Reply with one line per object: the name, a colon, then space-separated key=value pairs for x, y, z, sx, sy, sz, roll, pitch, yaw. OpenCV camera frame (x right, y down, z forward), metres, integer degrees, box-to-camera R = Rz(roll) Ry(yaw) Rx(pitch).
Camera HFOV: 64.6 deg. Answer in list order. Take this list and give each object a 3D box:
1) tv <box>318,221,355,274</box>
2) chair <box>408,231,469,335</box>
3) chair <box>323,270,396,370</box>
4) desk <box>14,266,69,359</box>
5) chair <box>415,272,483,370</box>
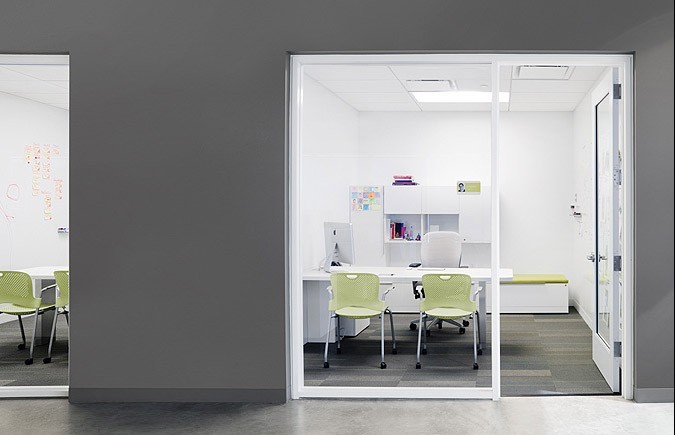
tv: x=-0.037 y=0.305 z=5.660 sx=0.257 sy=0.497 sz=0.445 roll=-9 pitch=11 yaw=-41
chair: x=1.059 y=0.723 z=5.809 sx=0.695 sy=1.022 sz=0.608 roll=-2 pitch=-3 yaw=-11
chair: x=0.290 y=1.050 z=5.876 sx=0.915 sy=1.302 sz=0.969 roll=0 pitch=-1 yaw=9
desk: x=-3.113 y=0.974 z=5.623 sx=0.581 sy=0.772 sz=0.635 roll=-14 pitch=-5 yaw=30
chair: x=1.136 y=1.045 z=5.638 sx=0.881 sy=1.225 sz=0.919 roll=0 pitch=-1 yaw=9
